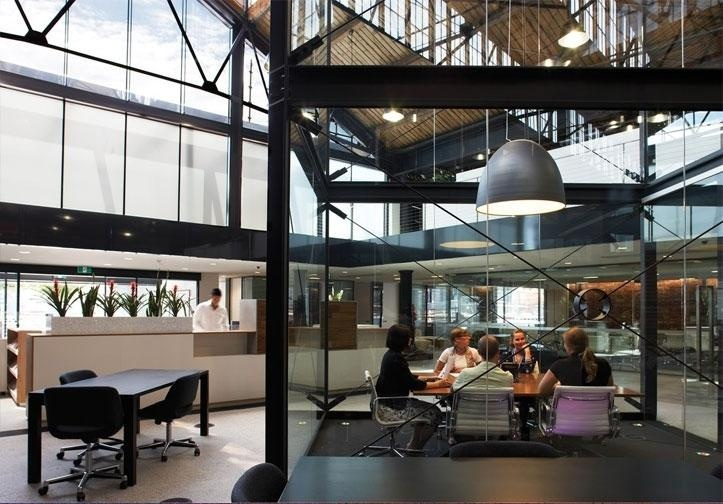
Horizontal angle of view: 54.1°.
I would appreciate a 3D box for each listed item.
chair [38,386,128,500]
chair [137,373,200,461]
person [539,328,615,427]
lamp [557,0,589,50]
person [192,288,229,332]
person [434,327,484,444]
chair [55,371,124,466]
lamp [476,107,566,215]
[{"bbox_3d":[-3.174,2.158,7.961,1.148,1.361,1.098,-1,-8,-3],"label":"chair"},{"bbox_3d":[-2.351,2.048,8.886,0.868,1.070,0.943,1,-7,3],"label":"chair"},{"bbox_3d":[2.525,1.569,8.378,0.824,1.236,0.979,6,-7,-2],"label":"person"},{"bbox_3d":[2.532,-2.677,8.365,0.410,0.438,0.406,1,-1,15],"label":"lamp"},{"bbox_3d":[-2.495,0.945,11.475,0.591,0.729,0.465,-5,11,-34],"label":"person"},{"bbox_3d":[1.215,1.622,8.959,0.594,1.322,0.451,1,17,5],"label":"person"},{"bbox_3d":[-3.460,1.997,8.784,1.007,1.128,0.956,3,-6,-27],"label":"chair"},{"bbox_3d":[1.594,-0.770,7.030,0.809,0.618,0.821,-1,5,-10],"label":"lamp"}]
